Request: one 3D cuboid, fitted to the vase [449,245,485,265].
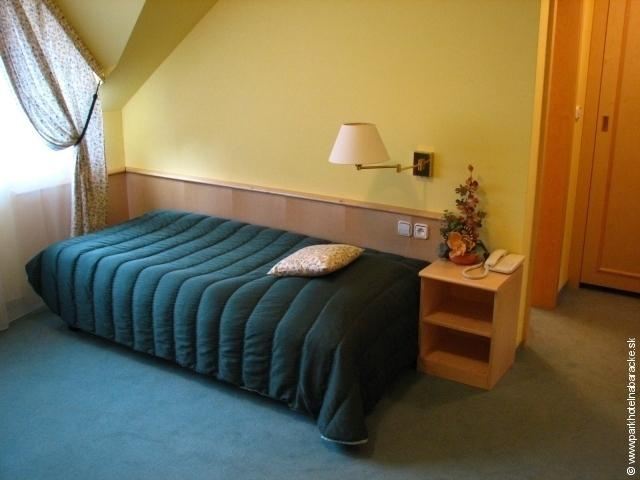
[{"bbox_3d":[0.948,0.074,3.124,0.145,0.060,0.135,-5,11,-10],"label":"vase"}]

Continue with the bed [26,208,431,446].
[{"bbox_3d":[-0.642,0.381,3.209,2.121,0.575,1.383,13,23,30],"label":"bed"}]

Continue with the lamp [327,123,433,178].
[{"bbox_3d":[0.442,-0.609,3.385,0.799,0.344,0.430,-3,12,-29],"label":"lamp"}]

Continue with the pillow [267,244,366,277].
[{"bbox_3d":[-0.023,0.158,3.067,0.605,0.207,0.306,2,20,-3],"label":"pillow"}]

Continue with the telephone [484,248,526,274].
[{"bbox_3d":[1.150,0.135,3.068,0.200,0.063,0.160,13,44,40],"label":"telephone"}]

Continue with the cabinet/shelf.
[{"bbox_3d":[0.973,0.506,3.181,0.498,0.665,0.505,8,18,34],"label":"cabinet/shelf"}]
